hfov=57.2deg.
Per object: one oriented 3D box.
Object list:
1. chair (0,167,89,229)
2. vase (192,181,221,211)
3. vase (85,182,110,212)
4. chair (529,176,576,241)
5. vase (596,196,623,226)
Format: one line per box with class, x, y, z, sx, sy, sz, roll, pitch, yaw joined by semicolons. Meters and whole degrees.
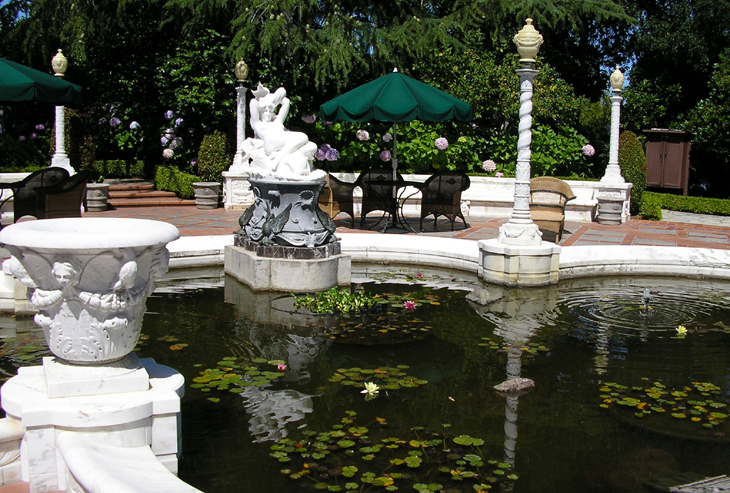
chair;-4.820;-0.802;10.148;1.137;0.774;0.549;-6;16;-26
vase;-3.529;-1.151;15.050;0.640;0.441;0.634;3;7;29
vase;-5.797;-1.072;14.489;0.588;0.398;0.568;0;14;-12
chair;3.002;-0.614;11.458;1.070;0.982;1.018;1;14;4
vase;4.987;-0.703;13.616;0.567;0.473;0.538;0;6;4
